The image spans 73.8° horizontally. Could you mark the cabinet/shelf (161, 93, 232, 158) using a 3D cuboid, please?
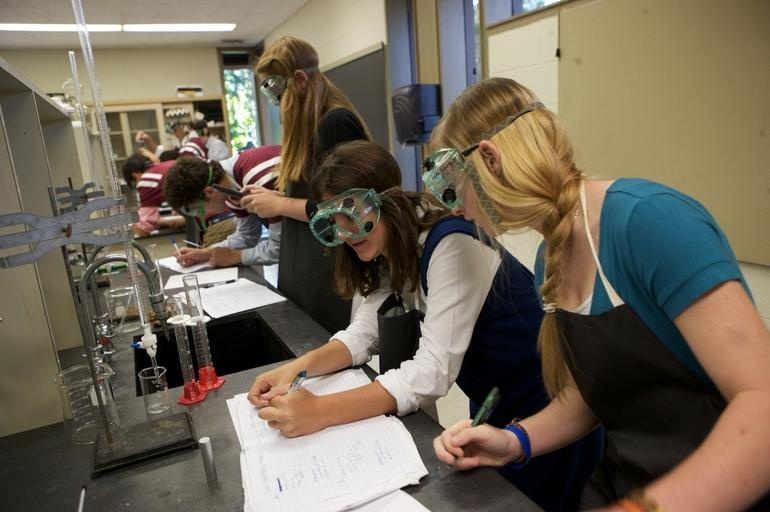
[{"bbox_3d":[-3.030,-1.942,8.241,1.060,1.072,0.331,-12,11,-27],"label":"cabinet/shelf"}]

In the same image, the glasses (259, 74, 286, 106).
[{"bbox_3d":[-0.505,-0.785,2.419,0.094,0.094,0.125,-30,15,23],"label":"glasses"}]

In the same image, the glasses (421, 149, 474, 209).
[{"bbox_3d":[0.180,-0.216,1.435,0.122,0.095,0.160,-35,-10,29],"label":"glasses"}]

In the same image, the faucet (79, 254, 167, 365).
[{"bbox_3d":[-0.904,0.167,1.761,0.243,0.377,0.589,-13,14,-29],"label":"faucet"}]

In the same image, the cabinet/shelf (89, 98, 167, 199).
[{"bbox_3d":[-4.131,-1.770,8.319,0.957,1.797,0.508,-12,54,-26],"label":"cabinet/shelf"}]

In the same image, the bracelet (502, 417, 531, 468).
[{"bbox_3d":[0.385,0.530,1.486,0.052,0.094,0.128,-12,56,-8],"label":"bracelet"}]

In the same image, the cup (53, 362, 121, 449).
[{"bbox_3d":[-0.906,0.466,1.581,0.149,0.228,0.230,-14,15,-35],"label":"cup"}]

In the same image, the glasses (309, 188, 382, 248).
[{"bbox_3d":[-0.126,-0.155,1.750,0.215,0.164,0.104,-24,45,-17],"label":"glasses"}]

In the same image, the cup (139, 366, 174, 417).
[{"bbox_3d":[-0.760,0.437,1.693,0.081,0.146,0.095,-12,14,-26],"label":"cup"}]

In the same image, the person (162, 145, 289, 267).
[{"bbox_3d":[-0.988,-0.304,3.269,1.130,0.639,0.542,-7,13,-25],"label":"person"}]
